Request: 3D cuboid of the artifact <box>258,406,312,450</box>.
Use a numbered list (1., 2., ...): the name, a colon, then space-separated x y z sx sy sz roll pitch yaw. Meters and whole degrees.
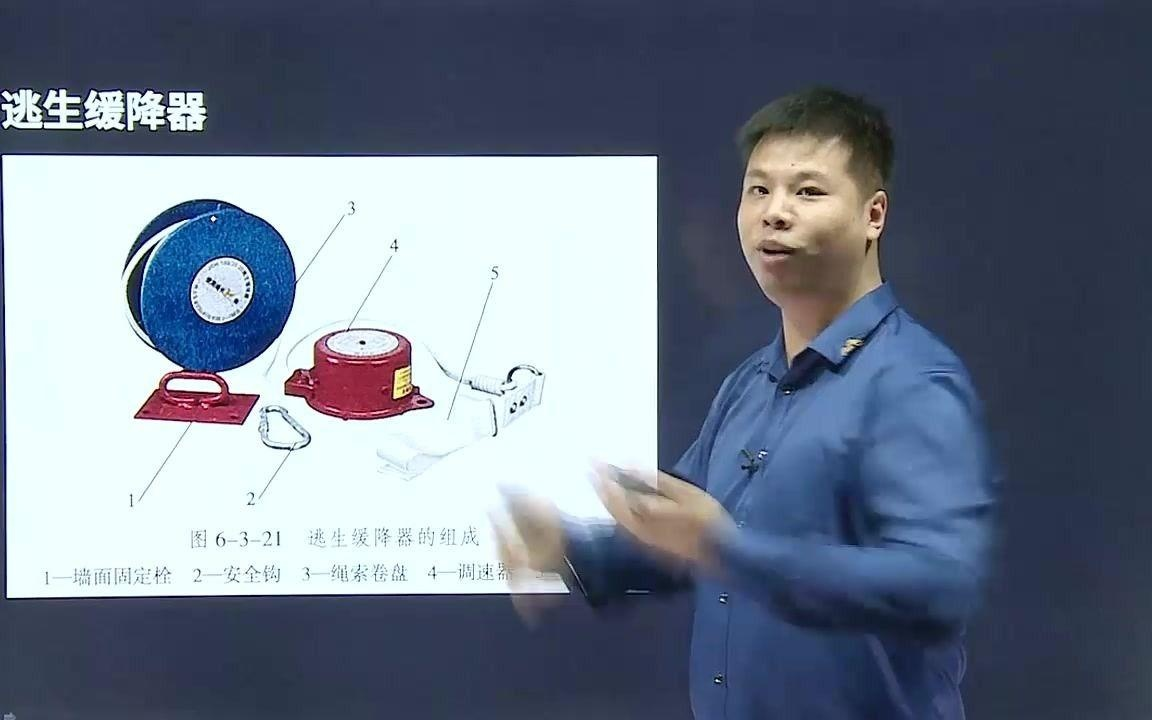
1. artifact: -0.965 0.194 4.711 0.137 0.035 0.178 44 18 -24
